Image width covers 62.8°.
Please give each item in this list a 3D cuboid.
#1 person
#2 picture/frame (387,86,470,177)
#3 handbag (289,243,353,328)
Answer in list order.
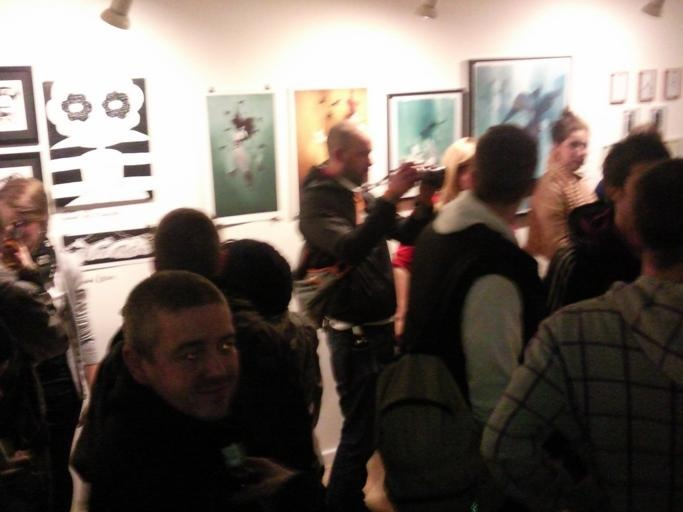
[{"bbox_3d":[0.691,0.108,2.532,1.712,1.442,0.649,-11,17,-31],"label":"person"},{"bbox_3d":[0.362,-0.620,2.498,0.355,0.333,0.019,0,-28,15],"label":"picture/frame"},{"bbox_3d":[-0.090,0.125,2.364,0.260,0.322,0.135,11,-1,8],"label":"handbag"}]
